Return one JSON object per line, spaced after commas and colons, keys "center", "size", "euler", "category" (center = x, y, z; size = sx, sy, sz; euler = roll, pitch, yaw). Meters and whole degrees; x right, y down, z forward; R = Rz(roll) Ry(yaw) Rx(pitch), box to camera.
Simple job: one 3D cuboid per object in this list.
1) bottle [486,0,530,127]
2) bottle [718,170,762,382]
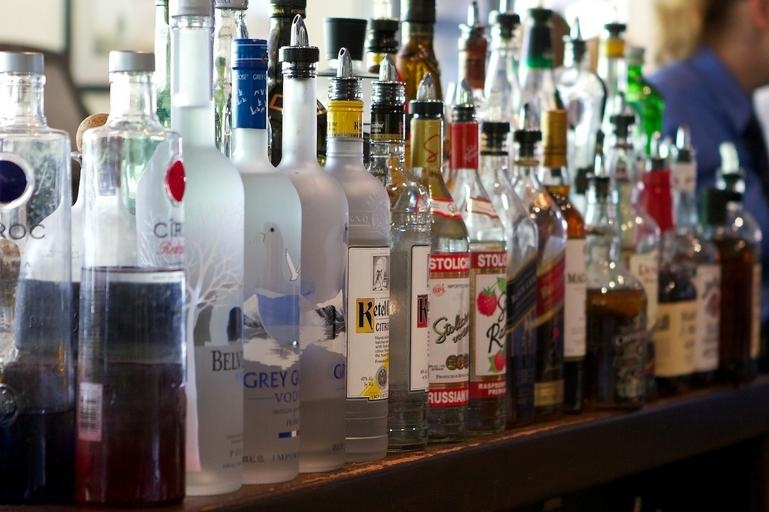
{"center": [0.184, -0.289, 1.660], "size": [0.061, 0.181, 0.076], "euler": [-4, 9, 8], "category": "bottle"}
{"center": [0.687, 0.032, 2.036], "size": [0.070, 0.399, 0.320], "euler": [-2, 10, 18], "category": "bottle"}
